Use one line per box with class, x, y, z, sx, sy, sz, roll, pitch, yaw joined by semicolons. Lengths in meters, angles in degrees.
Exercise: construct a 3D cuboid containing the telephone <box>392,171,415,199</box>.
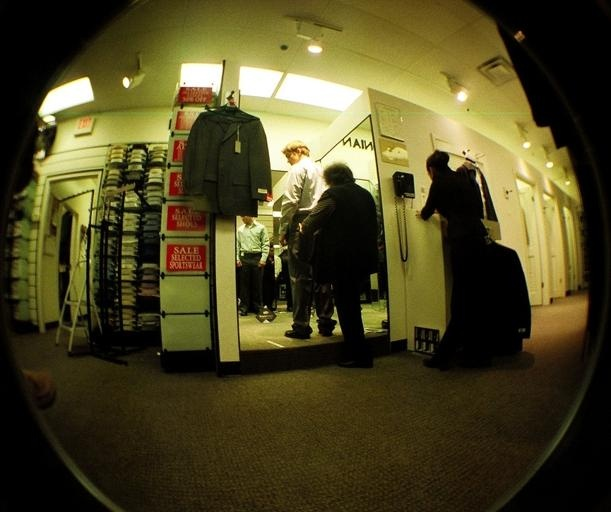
telephone;0.162;-0.121;0.788;0.043;0.044;0.014;0;-2;-34
